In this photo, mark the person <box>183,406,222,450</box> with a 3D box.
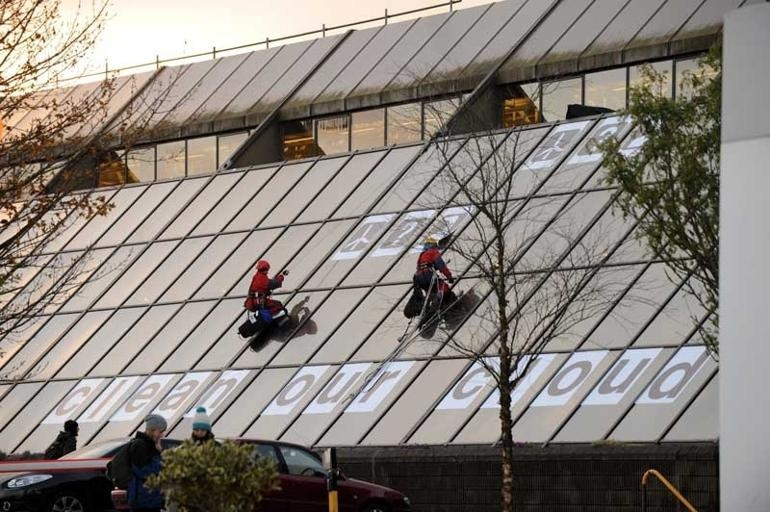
[{"bbox_3d":[-4.448,4.050,55.437,1.111,1.181,1.064,-4,-13,-2],"label":"person"}]

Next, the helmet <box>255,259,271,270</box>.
[{"bbox_3d":[-3.612,0.324,67.715,0.337,0.257,0.255,-11,16,-23],"label":"helmet"}]

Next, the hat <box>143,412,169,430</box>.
[{"bbox_3d":[-5.565,3.983,55.044,0.562,0.429,0.411,5,2,-6],"label":"hat"}]

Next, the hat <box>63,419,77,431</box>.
[{"bbox_3d":[-8.824,4.706,63.656,0.331,0.244,0.335,9,-8,-44],"label":"hat"}]

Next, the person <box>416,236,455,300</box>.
[{"bbox_3d":[1.507,0.266,65.711,1.242,1.942,1.089,9,-18,-27],"label":"person"}]
